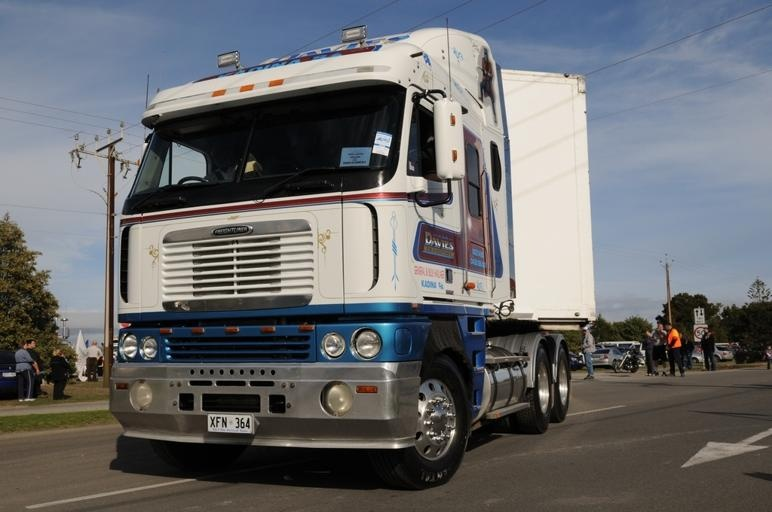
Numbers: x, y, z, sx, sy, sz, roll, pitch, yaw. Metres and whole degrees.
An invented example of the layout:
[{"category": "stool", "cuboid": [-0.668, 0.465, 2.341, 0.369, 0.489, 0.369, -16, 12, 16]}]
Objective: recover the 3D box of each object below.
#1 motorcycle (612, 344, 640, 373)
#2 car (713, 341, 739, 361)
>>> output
[{"category": "motorcycle", "cuboid": [11.326, 4.823, 33.924, 1.200, 1.079, 2.808, -4, -4, 18]}, {"category": "car", "cuboid": [34.038, 9.685, 72.653, 1.595, 1.421, 6.887, -4, -4, 24]}]
